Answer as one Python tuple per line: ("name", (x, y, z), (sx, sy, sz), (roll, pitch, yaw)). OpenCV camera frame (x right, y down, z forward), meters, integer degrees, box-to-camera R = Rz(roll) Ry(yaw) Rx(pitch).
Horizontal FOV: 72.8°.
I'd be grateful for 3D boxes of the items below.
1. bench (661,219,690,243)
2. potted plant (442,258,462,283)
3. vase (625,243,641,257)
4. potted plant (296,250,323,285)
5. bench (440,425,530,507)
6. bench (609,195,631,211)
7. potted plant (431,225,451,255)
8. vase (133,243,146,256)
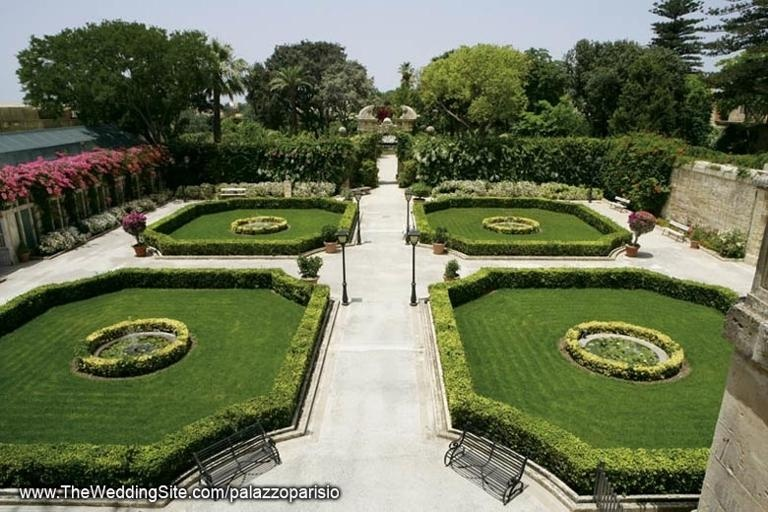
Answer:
("bench", (18.480, -1.578, 32.994), (0.681, 0.708, 1.699), (-3, 11, 2))
("potted plant", (3.286, 0.570, 25.465), (0.952, 1.281, 1.020), (-4, 18, 0))
("vase", (13.833, -0.382, 28.972), (0.795, 0.600, 0.685), (-1, 2, 3))
("potted plant", (-3.615, 0.558, 25.427), (1.575, 1.563, 1.281), (2, 14, 9))
("bench", (3.001, 6.083, 15.239), (2.219, 1.027, 1.254), (13, 28, 34))
("bench", (17.606, -3.948, 38.750), (0.631, 0.841, 1.345), (-9, 13, -18))
("potted plant", (3.169, -0.940, 29.392), (0.854, 1.492, 0.871), (-1, 23, 5))
("vase", (-13.590, -0.395, 28.866), (0.668, 0.487, 0.646), (1, 13, 5))
